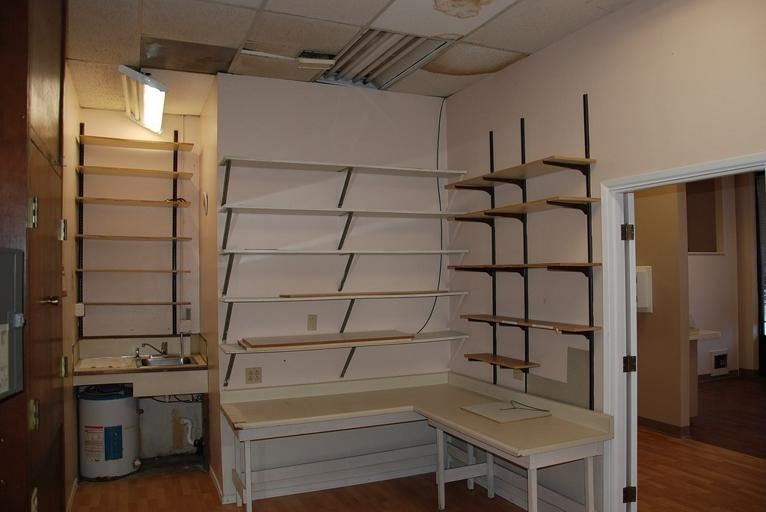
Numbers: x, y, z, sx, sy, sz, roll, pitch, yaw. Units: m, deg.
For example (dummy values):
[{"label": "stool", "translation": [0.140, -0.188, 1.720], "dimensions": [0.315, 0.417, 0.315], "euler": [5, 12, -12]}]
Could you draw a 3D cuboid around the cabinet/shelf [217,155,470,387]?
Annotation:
[{"label": "cabinet/shelf", "translation": [-0.430, 0.140, 5.385], "dimensions": [2.310, 1.820, 0.629], "euler": [1, -4, -21]}]

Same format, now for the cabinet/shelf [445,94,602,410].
[{"label": "cabinet/shelf", "translation": [1.104, -0.021, 4.878], "dimensions": [0.495, 2.007, 1.250], "euler": [-2, -1, -28]}]

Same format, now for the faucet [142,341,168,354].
[{"label": "faucet", "translation": [-2.250, 0.909, 5.984], "dimensions": [0.236, 0.136, 0.067], "euler": [-2, -1, 3]}]

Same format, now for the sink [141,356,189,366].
[{"label": "sink", "translation": [-2.113, 1.014, 5.898], "dimensions": [0.439, 0.083, 0.216], "euler": [-2, -1, -17]}]
